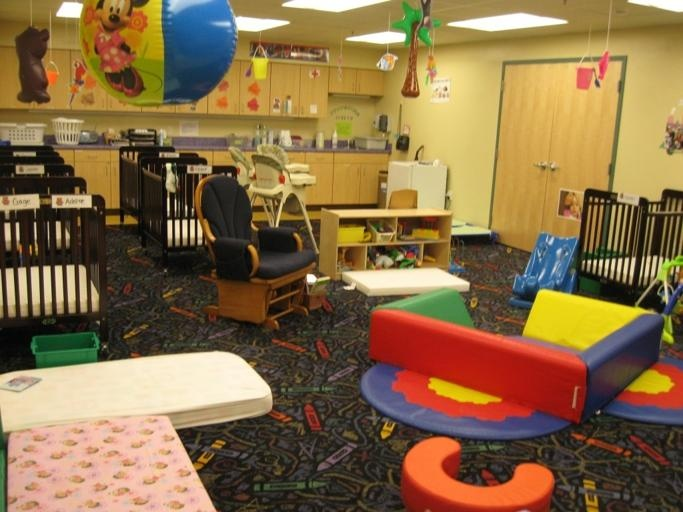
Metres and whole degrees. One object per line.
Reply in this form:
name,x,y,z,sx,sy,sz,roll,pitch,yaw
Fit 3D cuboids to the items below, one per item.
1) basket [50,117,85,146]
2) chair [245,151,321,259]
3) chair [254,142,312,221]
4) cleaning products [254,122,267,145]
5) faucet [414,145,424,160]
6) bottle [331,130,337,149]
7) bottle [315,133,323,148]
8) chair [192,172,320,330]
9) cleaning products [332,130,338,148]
basket,-4.237,-1.916,7.695,0.479,0.424,0.484,6,7,43
chair,-0.856,-0.770,6.790,0.902,1.266,0.825,16,21,40
chair,-0.848,-0.977,6.754,0.832,1.102,0.778,16,20,42
cleaning products,-1.439,-2.276,9.087,0.279,0.373,0.296,-5,15,-22
faucet,1.454,-1.915,9.050,0.155,0.269,0.200,0,14,-3
bottle,-0.119,-2.340,9.735,0.123,0.334,0.304,1,14,-1
bottle,-0.382,-2.286,9.596,0.143,0.293,0.237,13,18,39
chair,-0.806,-0.061,4.555,1.000,1.204,0.916,9,13,22
cleaning products,-0.119,-2.339,9.735,0.122,0.335,0.304,1,14,-1
